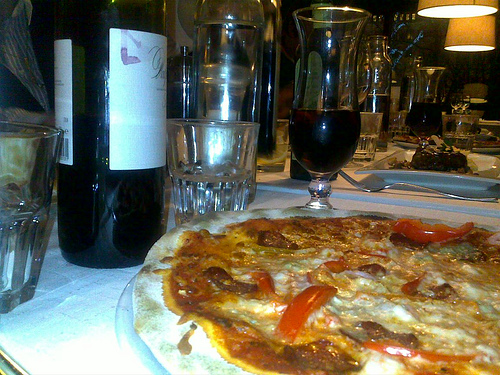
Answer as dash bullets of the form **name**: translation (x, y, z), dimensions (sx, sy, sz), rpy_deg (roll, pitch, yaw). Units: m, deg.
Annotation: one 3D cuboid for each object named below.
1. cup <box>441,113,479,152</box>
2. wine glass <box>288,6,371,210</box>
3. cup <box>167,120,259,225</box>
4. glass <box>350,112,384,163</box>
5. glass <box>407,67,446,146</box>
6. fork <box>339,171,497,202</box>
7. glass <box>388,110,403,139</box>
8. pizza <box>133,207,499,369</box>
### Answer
- **cup**: translation (1.017, -0.255, 1.789), dimensions (0.255, 0.173, 0.246), rpy_deg (0, 1, 0)
- **wine glass**: translation (0.134, -0.139, 0.654), dimensions (0.134, 0.350, 0.092), rpy_deg (3, 15, 4)
- **cup**: translation (-0.072, -0.025, 0.630), dimensions (0.160, 0.163, 0.156), rpy_deg (1, 6, 0)
- **glass**: translation (0.441, -0.202, 1.461), dimensions (0.150, 0.181, 0.147), rpy_deg (-6, 12, -40)
- **glass**: translation (0.726, -0.316, 1.499), dimensions (0.143, 0.338, 0.137), rpy_deg (6, 18, 29)
- **fork**: translation (0.424, -0.002, 0.917), dimensions (0.236, 0.022, 0.026), rpy_deg (13, -22, 15)
- **glass**: translation (1.000, -0.444, 2.532), dimensions (0.070, 0.183, 0.179), rpy_deg (1, 14, -4)
- **pizza**: translation (0.067, 0.100, 0.320), dimensions (0.203, 0.019, 0.197), rpy_deg (8, 16, 14)
